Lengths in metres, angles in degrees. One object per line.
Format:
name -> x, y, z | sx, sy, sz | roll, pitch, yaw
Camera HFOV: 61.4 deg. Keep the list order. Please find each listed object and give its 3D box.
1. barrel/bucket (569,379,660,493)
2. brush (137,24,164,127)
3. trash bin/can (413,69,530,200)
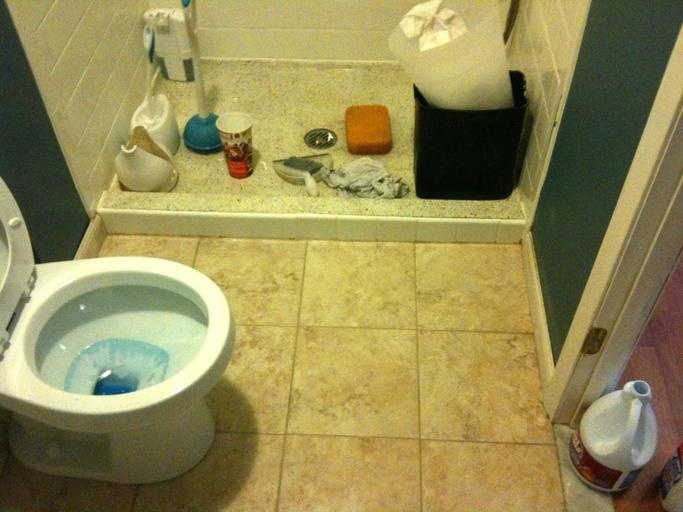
barrel/bucket -> 0.734, 0.487, 1.541 | 0.155, 0.334, 0.188 | -31, 53, -23
brush -> -0.829, -0.784, 2.487 | 0.112, 0.606, 0.143 | 0, 41, -21
trash bin/can -> 0.473, -0.454, 2.082 | 0.382, 0.525, 0.293 | 2, 55, 10
